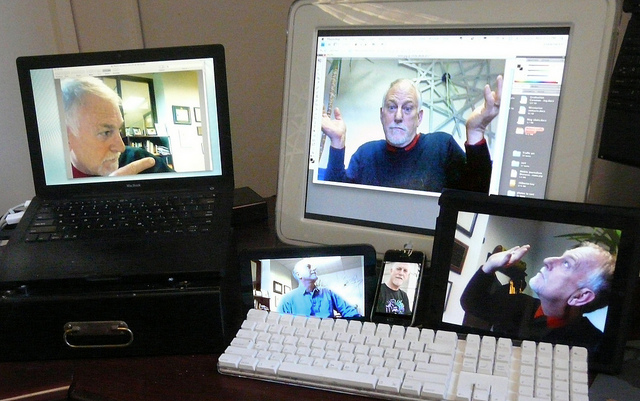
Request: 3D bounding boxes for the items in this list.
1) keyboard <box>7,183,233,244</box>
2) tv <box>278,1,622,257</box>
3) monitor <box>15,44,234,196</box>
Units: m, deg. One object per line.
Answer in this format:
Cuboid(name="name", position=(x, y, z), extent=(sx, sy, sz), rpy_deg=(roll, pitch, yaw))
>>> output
Cuboid(name="keyboard", position=(-0.395, 0.022, 1.006), extent=(0.416, 0.089, 0.135), rpy_deg=(0, 15, -2))
Cuboid(name="tv", position=(0.243, -0.141, 0.925), extent=(0.463, 0.396, 0.048), rpy_deg=(8, 6, 11))
Cuboid(name="monitor", position=(-0.404, -0.164, 1.043), extent=(0.357, 0.251, 0.005), rpy_deg=(-1, 6, 0))
